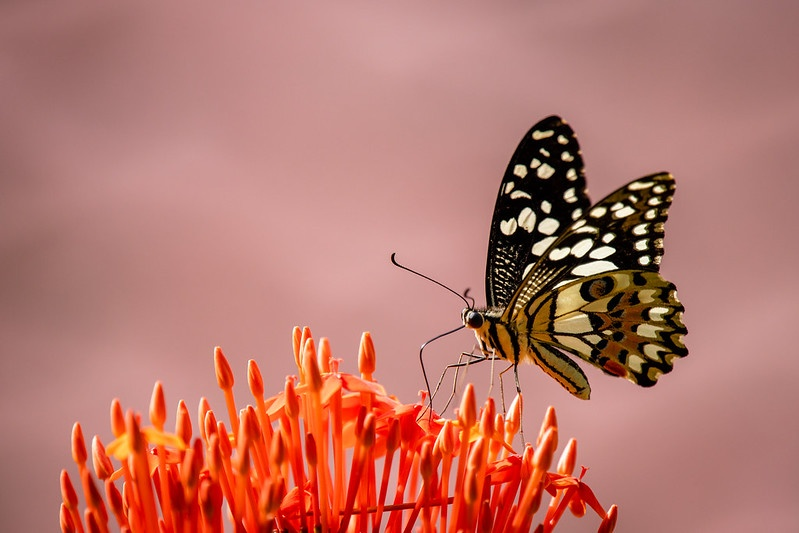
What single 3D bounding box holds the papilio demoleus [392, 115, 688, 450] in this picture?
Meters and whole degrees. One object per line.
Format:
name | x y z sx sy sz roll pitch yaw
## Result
papilio demoleus | 0.181 -0.007 1.424 0.345 0.434 0.406 -8 -83 0
